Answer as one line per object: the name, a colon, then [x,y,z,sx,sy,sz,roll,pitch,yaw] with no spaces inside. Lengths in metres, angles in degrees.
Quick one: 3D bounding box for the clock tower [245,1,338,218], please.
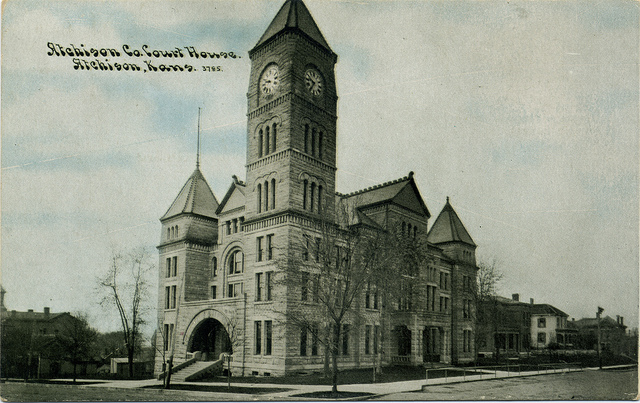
clock tower: [-2.989,-10.286,109.655,9.322,22.093,7.661,0,-21,-2]
